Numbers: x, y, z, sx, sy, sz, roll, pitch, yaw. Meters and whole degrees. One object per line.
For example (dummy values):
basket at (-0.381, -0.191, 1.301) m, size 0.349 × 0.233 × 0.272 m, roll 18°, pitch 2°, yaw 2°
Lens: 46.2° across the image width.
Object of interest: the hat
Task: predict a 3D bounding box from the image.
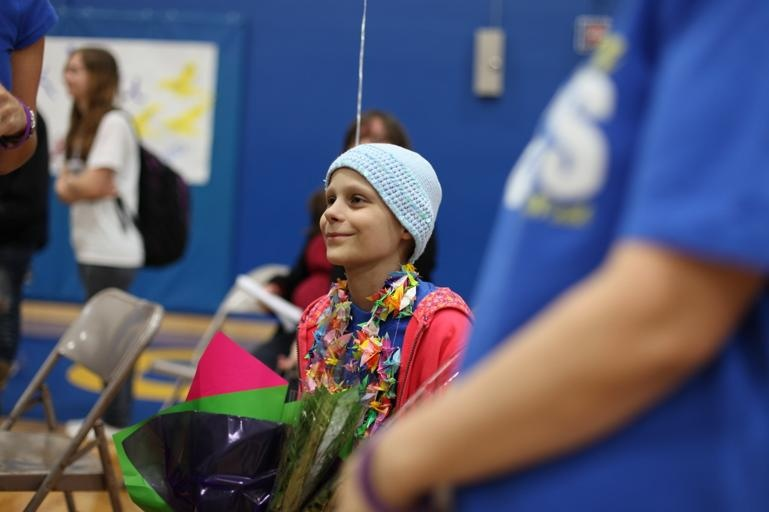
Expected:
hat at (0.035, -0.166, 2.696) m, size 0.347 × 0.288 × 0.289 m, roll 17°, pitch -1°, yaw -41°

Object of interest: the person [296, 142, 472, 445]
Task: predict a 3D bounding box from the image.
person at (0.000, 0.136, 2.631) m, size 0.528 × 0.901 × 0.391 m, roll 1°, pitch -6°, yaw 38°
